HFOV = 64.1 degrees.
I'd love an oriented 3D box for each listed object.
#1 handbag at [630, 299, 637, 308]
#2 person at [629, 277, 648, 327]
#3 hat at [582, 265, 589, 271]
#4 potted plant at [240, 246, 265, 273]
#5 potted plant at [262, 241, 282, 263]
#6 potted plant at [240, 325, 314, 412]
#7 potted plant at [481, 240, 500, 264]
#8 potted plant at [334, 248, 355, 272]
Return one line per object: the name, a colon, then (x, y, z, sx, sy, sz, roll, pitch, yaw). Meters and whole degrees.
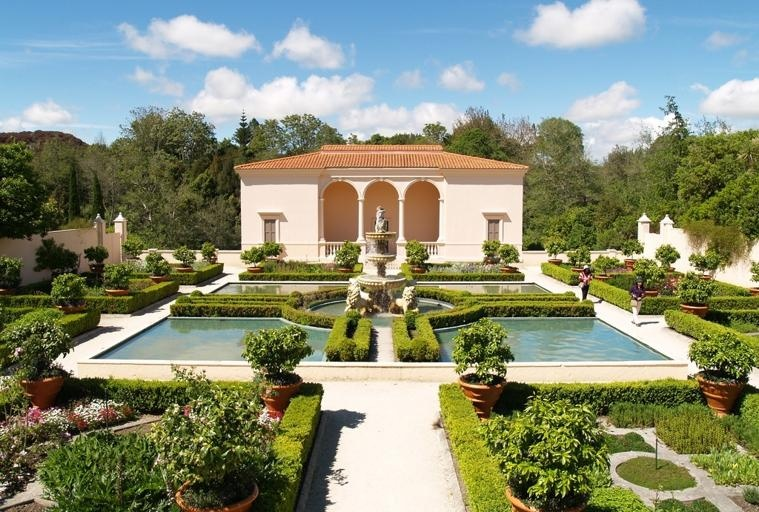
handbag: (8.911, 1.666, 21.246, 0.173, 0.172, 0.179, 3, -3, 3)
person: (9.106, 1.580, 21.415, 0.387, 1.491, 1.752, 2, 3, 24)
hat: (8.356, 0.475, 24.529, 0.239, 0.196, 0.185, -4, 5, -4)
potted plant: (-6.325, 0.214, 30.411, 1.134, 1.496, 1.452, -1, 6, 6)
potted plant: (-5.700, -0.124, 32.546, 0.934, 1.265, 1.132, -3, 7, -16)
potted plant: (-2.254, 2.604, 13.582, 1.307, 1.983, 0.519, -2, 4, -28)
potted plant: (5.985, -0.207, 32.791, 1.197, 1.506, 1.071, 0, -1, -4)
potted plant: (-1.680, 0.152, 30.015, 1.005, 1.346, 1.293, -4, 6, -9)
